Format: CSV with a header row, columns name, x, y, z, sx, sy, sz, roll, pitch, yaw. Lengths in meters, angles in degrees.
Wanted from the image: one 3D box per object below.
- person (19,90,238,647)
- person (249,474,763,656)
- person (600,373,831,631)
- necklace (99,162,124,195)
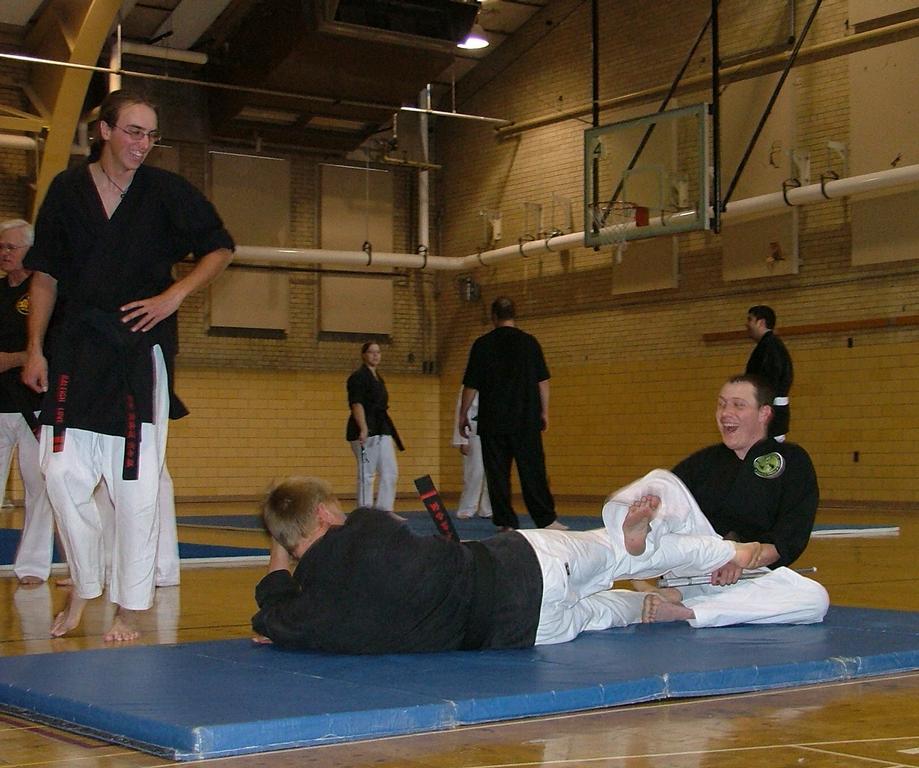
name,x,y,z,sx,sy,sz,roll,pitch,yaw
person,-1.284,-0.116,4.373,0.730,1.969,0.377,2,-3,-19
person,0.140,0.635,3.969,1.792,0.571,0.522,-4,10,4
person,1.055,0.472,4.501,0.960,0.936,0.825,1,3,-29
necklace,-1.312,-0.783,4.338,0.039,0.158,0.023,-39,-12,-8
